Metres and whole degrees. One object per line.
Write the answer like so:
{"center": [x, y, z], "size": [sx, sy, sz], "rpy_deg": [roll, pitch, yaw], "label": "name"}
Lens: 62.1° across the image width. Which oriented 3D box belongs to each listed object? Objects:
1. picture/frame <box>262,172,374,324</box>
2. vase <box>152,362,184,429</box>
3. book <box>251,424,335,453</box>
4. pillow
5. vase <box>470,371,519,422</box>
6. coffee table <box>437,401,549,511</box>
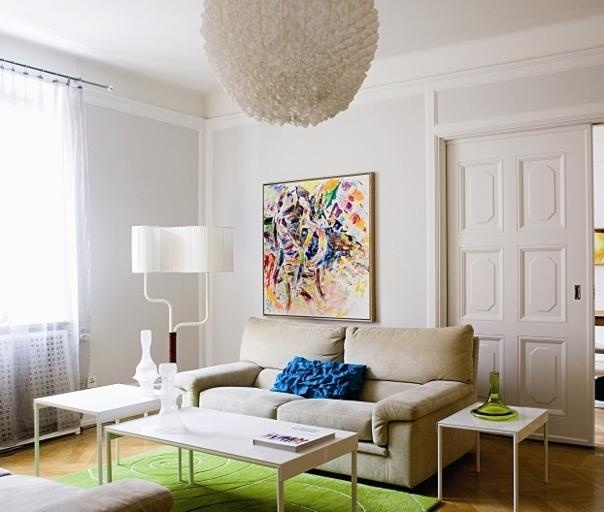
{"center": [0.192, -0.061, 4.692], "size": [1.407, 1.602, 0.059], "rpy_deg": [0, 1, 37], "label": "picture/frame"}
{"center": [-0.805, 0.841, 3.020], "size": [0.181, 0.372, 0.174], "rpy_deg": [5, -11, -41], "label": "vase"}
{"center": [-0.045, 0.882, 2.445], "size": [0.316, 0.034, 0.358], "rpy_deg": [-3, -3, 43], "label": "book"}
{"center": [0.086, 0.887, 3.667], "size": [0.515, 0.312, 0.130], "rpy_deg": [-3, -38, 39], "label": "pillow"}
{"center": [1.128, 0.824, 2.938], "size": [0.259, 0.265, 0.265], "rpy_deg": [6, -9, -17], "label": "vase"}
{"center": [1.098, 1.052, 2.984], "size": [0.551, 0.567, 0.648], "rpy_deg": [-5, -8, 43], "label": "coffee table"}
